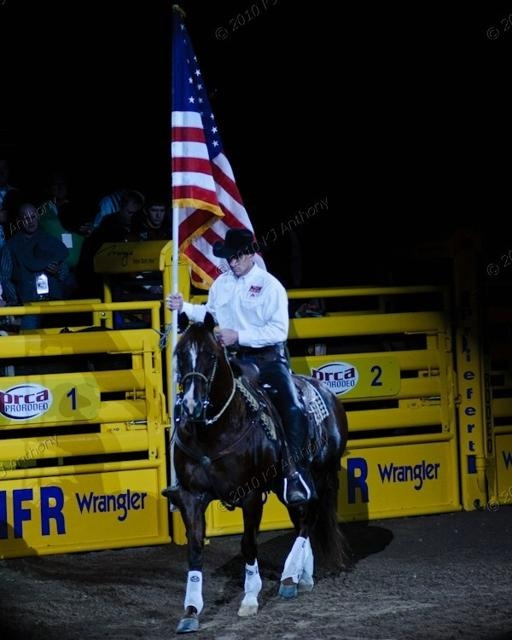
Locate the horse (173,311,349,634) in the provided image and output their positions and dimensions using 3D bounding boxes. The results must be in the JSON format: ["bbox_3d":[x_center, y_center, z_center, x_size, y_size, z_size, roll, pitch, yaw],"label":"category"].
[{"bbox_3d":[-0.029,0.890,6.457,0.508,1.940,1.865,1,5,30],"label":"horse"}]

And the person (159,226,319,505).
[{"bbox_3d":[-0.134,0.323,6.658,0.826,1.904,0.691,2,10,19],"label":"person"}]

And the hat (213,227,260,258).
[{"bbox_3d":[-0.144,-0.507,6.664,0.259,0.107,0.194,-10,25,-18],"label":"hat"}]
